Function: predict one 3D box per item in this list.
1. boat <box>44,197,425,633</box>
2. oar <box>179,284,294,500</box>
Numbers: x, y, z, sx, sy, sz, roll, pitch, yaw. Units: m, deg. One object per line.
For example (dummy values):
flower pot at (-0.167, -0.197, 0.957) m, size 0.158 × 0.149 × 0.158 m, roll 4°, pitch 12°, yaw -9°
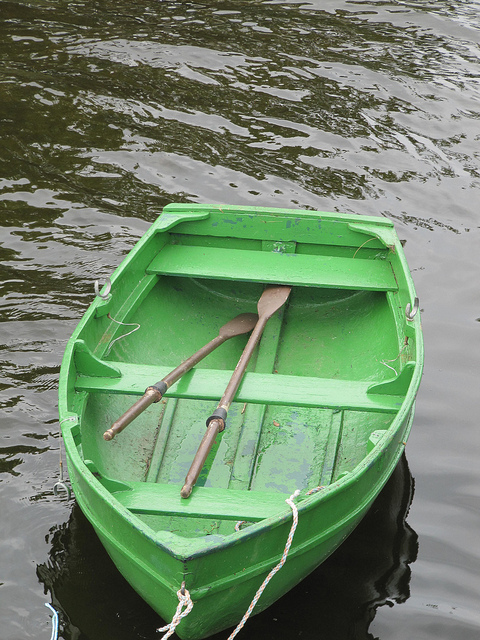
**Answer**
boat at (-0.045, 0.388, 4.930) m, size 2.162 × 1.837 × 3.231 m, roll 10°, pitch 17°, yaw 13°
oar at (0.010, 0.339, 4.841) m, size 0.309 × 0.088 × 2.153 m, roll 0°, pitch 22°, yaw 15°
